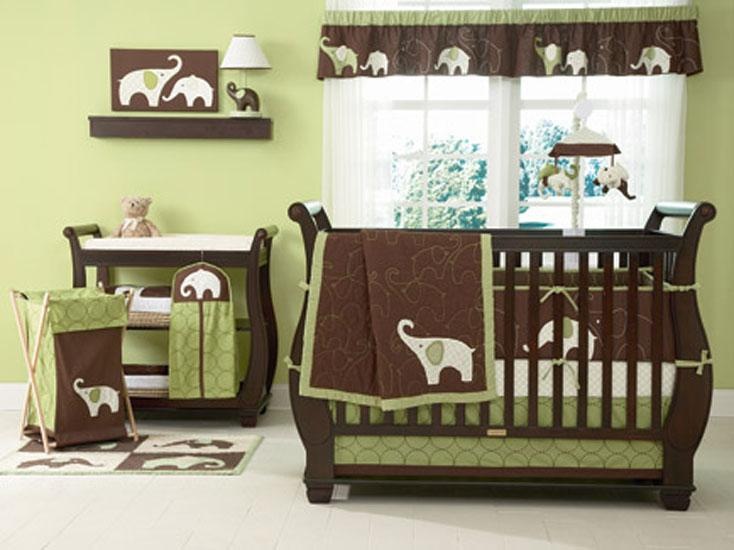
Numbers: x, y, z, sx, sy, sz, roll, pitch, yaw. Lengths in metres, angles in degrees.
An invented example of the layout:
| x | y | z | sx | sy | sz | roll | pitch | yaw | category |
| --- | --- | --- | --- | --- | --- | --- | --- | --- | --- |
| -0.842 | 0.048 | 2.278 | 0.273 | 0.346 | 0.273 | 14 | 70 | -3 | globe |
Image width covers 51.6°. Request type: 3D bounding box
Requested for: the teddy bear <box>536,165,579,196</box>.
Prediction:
| x | y | z | sx | sy | sz | roll | pitch | yaw | category |
| --- | --- | --- | --- | --- | --- | --- | --- | --- | --- |
| 0.990 | -0.479 | 3.913 | 0.183 | 0.201 | 0.102 | 10 | -17 | 29 | teddy bear |

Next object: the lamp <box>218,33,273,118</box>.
| x | y | z | sx | sy | sz | roll | pitch | yaw | category |
| --- | --- | --- | --- | --- | --- | --- | --- | --- | --- |
| -0.704 | -1.119 | 4.320 | 0.263 | 0.474 | 0.266 | 1 | 8 | 9 | lamp |

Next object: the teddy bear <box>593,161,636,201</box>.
| x | y | z | sx | sy | sz | roll | pitch | yaw | category |
| --- | --- | --- | --- | --- | --- | --- | --- | --- | --- |
| 1.229 | -0.489 | 3.892 | 0.171 | 0.076 | 0.243 | 21 | -3 | 10 | teddy bear |

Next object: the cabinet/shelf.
| x | y | z | sx | sy | sz | roll | pitch | yaw | category |
| --- | --- | --- | --- | --- | --- | --- | --- | --- | --- |
| -1.058 | 0.287 | 4.077 | 1.002 | 1.104 | 0.412 | 0 | 1 | 2 | cabinet/shelf |
